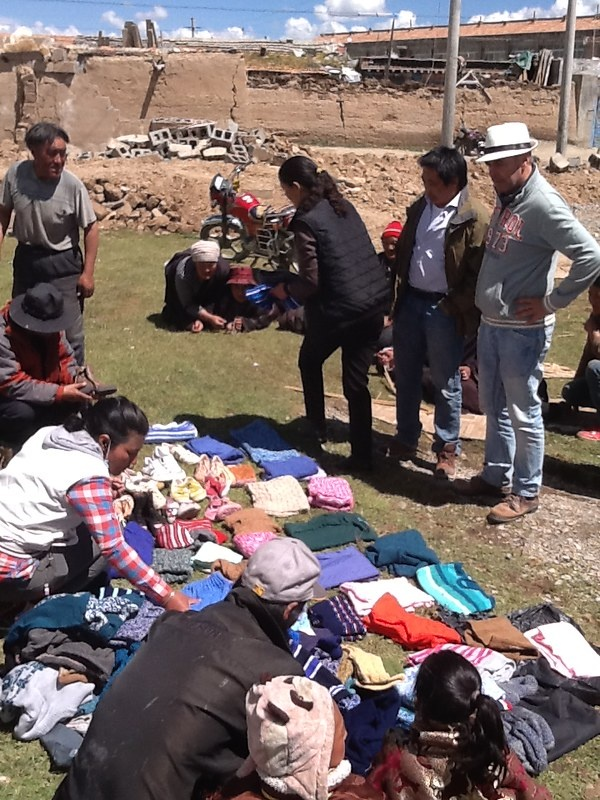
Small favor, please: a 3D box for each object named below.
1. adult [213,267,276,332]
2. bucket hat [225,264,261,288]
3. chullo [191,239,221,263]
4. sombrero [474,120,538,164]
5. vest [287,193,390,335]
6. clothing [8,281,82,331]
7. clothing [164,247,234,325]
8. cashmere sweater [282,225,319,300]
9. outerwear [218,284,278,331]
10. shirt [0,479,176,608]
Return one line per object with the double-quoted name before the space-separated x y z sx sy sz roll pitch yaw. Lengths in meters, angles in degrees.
"adult" -0.627 -1.057 7.350 0.677 0.775 0.519 -5 44 -4
"bucket hat" -0.665 -1.357 7.755 0.285 0.219 0.514 1 10 -9
"chullo" -1.034 -1.595 7.583 0.292 0.231 0.348 2 11 -9
"sombrero" 1.174 -1.464 3.987 0.333 0.155 0.279 -11 24 17
"vest" 0.244 -0.935 4.952 0.508 0.782 0.815 1 16 43
"clothing" -1.544 -0.531 4.188 0.345 0.145 0.319 31 50 7
"clothing" -1.191 -1.239 7.820 0.631 1.057 0.993 -1 62 -15
"cashmere sweater" 0.043 -0.914 4.783 0.150 0.380 0.315 6 14 25
"outerwear" -0.675 -1.015 7.946 0.604 0.266 0.705 0 26 4
"shirt" -0.787 0.547 2.768 0.658 0.231 0.637 -8 26 -32
